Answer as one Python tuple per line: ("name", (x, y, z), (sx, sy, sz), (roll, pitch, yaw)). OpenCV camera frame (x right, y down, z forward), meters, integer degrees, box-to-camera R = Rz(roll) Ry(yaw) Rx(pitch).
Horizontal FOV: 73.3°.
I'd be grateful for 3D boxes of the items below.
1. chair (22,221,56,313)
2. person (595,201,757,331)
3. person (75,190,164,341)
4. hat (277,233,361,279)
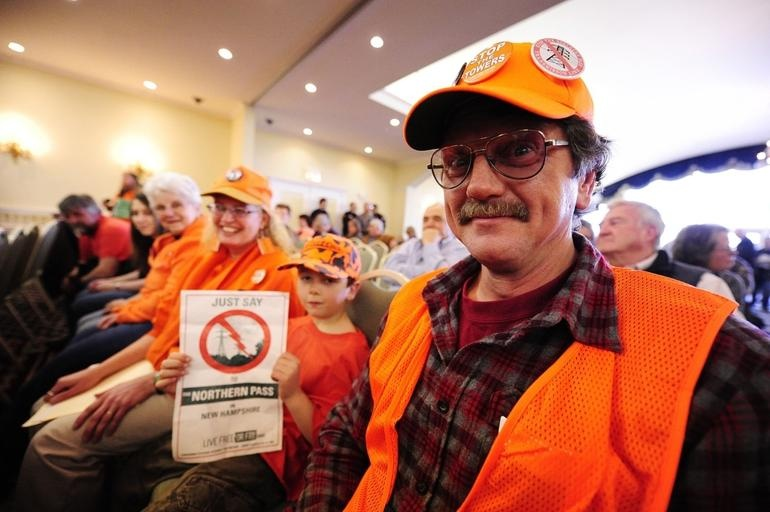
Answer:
("chair", (-3.467, 0.028, 5.240), (0.165, 0.695, 0.174), (14, -7, 16))
("person", (2.824, 0.020, 5.611), (0.888, 1.259, 2.000), (9, -5, -1))
("person", (-3.150, 0.144, 5.569), (0.890, 1.533, 0.547), (-21, 28, -28))
("hat", (-0.550, 0.017, 4.483), (0.426, 0.290, 0.546), (6, -12, 37))
